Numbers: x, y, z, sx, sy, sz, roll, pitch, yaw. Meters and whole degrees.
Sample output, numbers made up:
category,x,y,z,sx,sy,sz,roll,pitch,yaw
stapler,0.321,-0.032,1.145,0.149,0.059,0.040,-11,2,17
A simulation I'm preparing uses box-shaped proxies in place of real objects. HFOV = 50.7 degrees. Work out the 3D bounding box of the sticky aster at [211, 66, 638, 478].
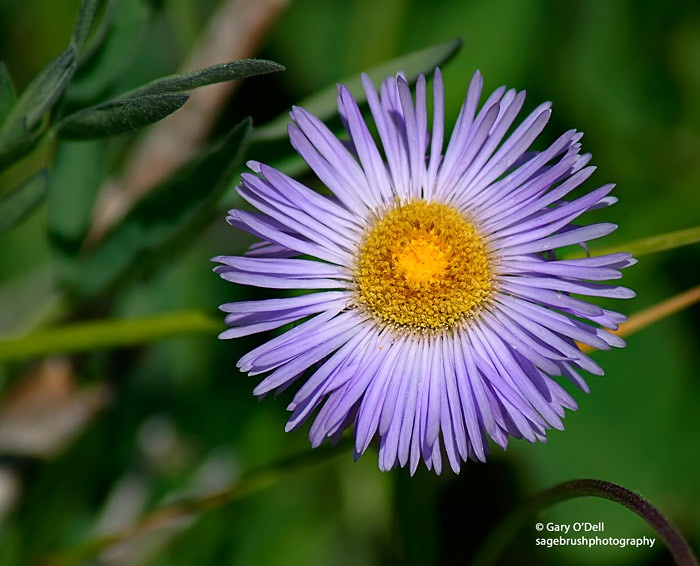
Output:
category,x,y,z,sx,sy,sz,roll,pitch,yaw
sticky aster,0.119,-0.049,1.351,0.645,0.720,0.301,3,-79,26
